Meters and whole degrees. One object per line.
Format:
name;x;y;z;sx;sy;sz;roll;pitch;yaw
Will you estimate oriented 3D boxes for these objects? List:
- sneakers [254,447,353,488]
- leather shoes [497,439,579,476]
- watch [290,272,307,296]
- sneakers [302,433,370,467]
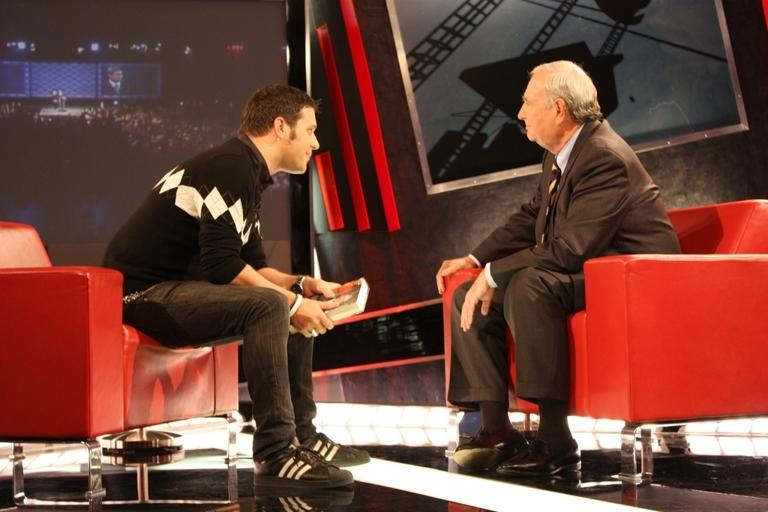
sneakers;-0.305;0.815;2.548;0.431;0.175;0.145;0;-2;-2
leather shoes;0.635;0.827;2.657;0.273;0.107;0.151;0;-7;-10
watch;-0.383;0.133;2.946;0.064;0.095;0.085;18;-37;12
sneakers;-0.195;0.806;2.699;0.335;0.122;0.113;3;0;-12
